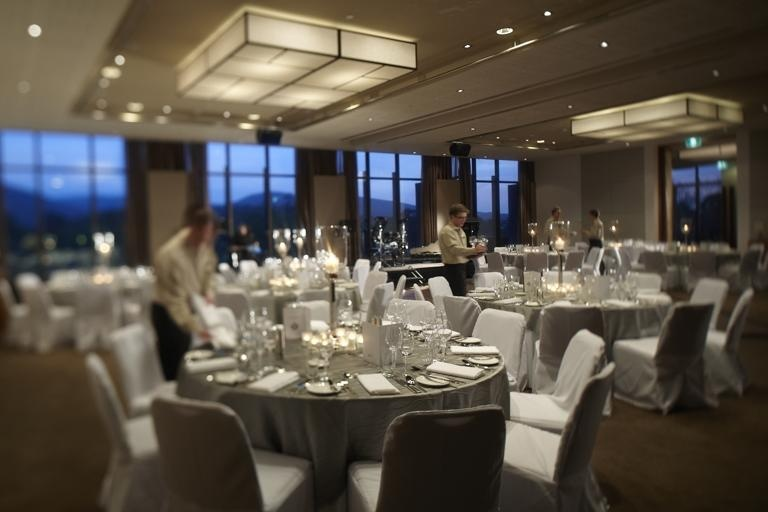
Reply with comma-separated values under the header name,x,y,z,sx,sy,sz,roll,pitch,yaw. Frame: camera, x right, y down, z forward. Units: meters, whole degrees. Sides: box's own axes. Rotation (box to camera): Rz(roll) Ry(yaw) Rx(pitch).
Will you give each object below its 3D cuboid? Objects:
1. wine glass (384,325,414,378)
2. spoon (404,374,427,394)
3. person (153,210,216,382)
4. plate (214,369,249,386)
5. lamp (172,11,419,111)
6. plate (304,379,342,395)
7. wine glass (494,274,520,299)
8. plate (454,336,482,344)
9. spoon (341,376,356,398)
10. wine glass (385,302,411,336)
name,x,y,z,sx,sy,sz,roll,pitch,yaw
wine glass,0.091,0.638,4.014,0.199,0.377,0.341,-2,4,0
spoon,0.211,0.861,3.766,0.069,0.027,0.238,-9,2,-10
person,-1.545,0.319,4.360,0.492,1.394,0.612,-4,5,-24
plate,-1.043,0.833,3.843,0.257,0.061,0.124,-1,4,15
lamp,-1.102,-2.083,6.553,2.566,0.853,1.638,-4,4,-26
plate,-0.402,0.871,3.711,0.253,0.056,0.141,-2,4,-1
wine glass,1.376,0.338,6.272,0.253,0.265,0.260,1,-1,-20
plate,0.670,0.681,4.511,0.210,0.044,0.231,-2,4,0
spoon,-0.234,0.871,3.747,0.093,0.066,0.240,-2,4,-1
wine glass,0.140,0.460,4.105,0.182,0.338,0.179,1,-1,-44
